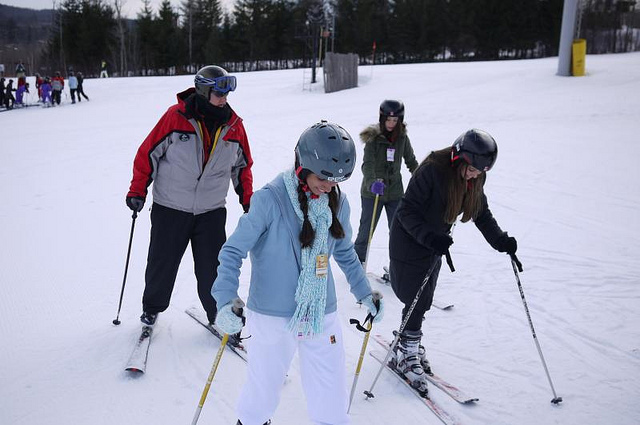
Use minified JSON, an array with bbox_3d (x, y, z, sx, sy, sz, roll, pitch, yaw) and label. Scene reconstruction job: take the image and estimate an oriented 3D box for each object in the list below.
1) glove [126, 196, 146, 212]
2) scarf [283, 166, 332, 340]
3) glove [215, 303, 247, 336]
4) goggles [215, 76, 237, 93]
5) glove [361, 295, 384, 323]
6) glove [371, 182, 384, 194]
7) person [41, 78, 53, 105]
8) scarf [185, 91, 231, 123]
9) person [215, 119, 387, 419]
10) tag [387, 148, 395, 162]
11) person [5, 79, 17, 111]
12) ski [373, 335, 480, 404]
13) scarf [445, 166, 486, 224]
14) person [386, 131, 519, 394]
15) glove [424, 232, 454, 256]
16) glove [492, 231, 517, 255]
[{"bbox_3d":[-1.988,-0.102,5.619,0.140,0.192,0.093,5,4,-19],"label":"glove"},{"bbox_3d":[-0.069,0.452,4.392,0.281,1.206,0.499,4,14,23],"label":"scarf"},{"bbox_3d":[-0.703,0.877,4.347,0.245,0.220,0.224,39,15,27],"label":"glove"},{"bbox_3d":[-1.010,-1.360,5.494,0.179,0.097,0.179,8,14,33],"label":"goggles"},{"bbox_3d":[0.480,0.904,4.710,0.152,0.282,0.114,-6,-11,-22],"label":"glove"},{"bbox_3d":[0.771,-0.326,6.789,0.200,0.161,0.165,-4,14,-10],"label":"glove"},{"bbox_3d":[-11.201,-5.013,21.303,0.410,0.959,1.180,-8,15,-27],"label":"person"},{"bbox_3d":[-1.205,-1.104,5.563,0.374,0.242,0.293,29,13,11],"label":"scarf"},{"bbox_3d":[-0.195,0.509,4.353,1.332,2.435,0.641,-4,13,-13],"label":"person"},{"bbox_3d":[0.964,-0.766,6.976,0.102,0.180,0.063,-2,13,-2],"label":"tag"},{"bbox_3d":[-12.165,-4.617,20.309,0.351,1.150,1.023,-9,15,-30],"label":"person"},{"bbox_3d":[1.136,1.718,5.588,0.187,0.083,1.606,-25,25,-12],"label":"ski"},{"bbox_3d":[1.453,-0.156,5.287,0.409,0.573,0.162,3,10,-26],"label":"scarf"},{"bbox_3d":[1.298,0.462,5.522,1.048,2.642,1.059,-13,18,-43],"label":"person"},{"bbox_3d":[1.191,0.330,5.216,0.264,0.293,0.230,2,14,11],"label":"glove"},{"bbox_3d":[1.967,0.342,5.453,0.244,0.138,0.190,34,-29,0],"label":"glove"}]
